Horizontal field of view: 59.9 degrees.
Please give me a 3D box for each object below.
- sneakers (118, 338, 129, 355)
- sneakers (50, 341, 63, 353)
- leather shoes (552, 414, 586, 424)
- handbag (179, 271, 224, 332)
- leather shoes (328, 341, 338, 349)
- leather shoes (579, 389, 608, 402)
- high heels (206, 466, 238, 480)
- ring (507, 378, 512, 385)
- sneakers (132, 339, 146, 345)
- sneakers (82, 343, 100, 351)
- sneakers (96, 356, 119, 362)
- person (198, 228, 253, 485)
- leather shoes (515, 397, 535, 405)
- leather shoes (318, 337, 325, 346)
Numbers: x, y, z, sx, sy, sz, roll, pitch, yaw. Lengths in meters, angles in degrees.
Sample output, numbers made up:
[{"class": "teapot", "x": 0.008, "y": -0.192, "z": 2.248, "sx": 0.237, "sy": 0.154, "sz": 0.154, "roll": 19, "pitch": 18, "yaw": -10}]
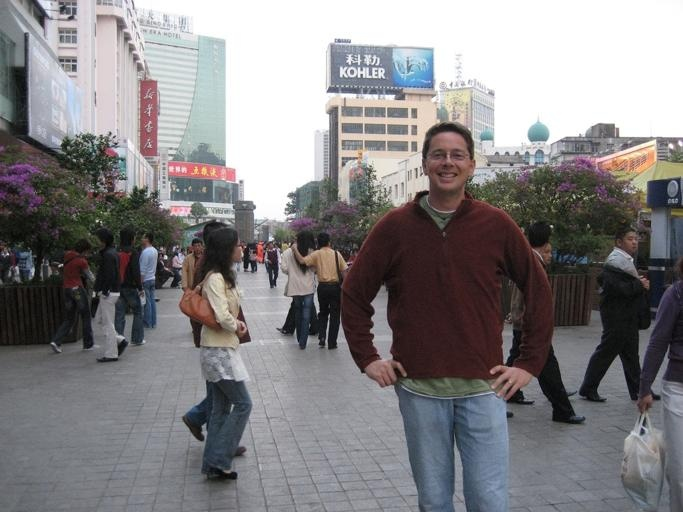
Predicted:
[{"class": "sneakers", "x": -3.803, "y": 1.581, "z": 10.295, "sx": 0.127, "sy": 0.317, "sz": 0.104, "roll": 22, "pitch": -1, "yaw": 32}, {"class": "sneakers", "x": -5.220, "y": 1.672, "z": 10.829, "sx": 0.068, "sy": 0.202, "sz": 0.079, "roll": -4, "pitch": 31, "yaw": 19}, {"class": "leather shoes", "x": 2.521, "y": 1.801, "z": 6.584, "sx": 0.327, "sy": 0.151, "sz": 0.127, "roll": -2, "pitch": -1, "yaw": 11}, {"class": "handbag", "x": -1.263, "y": 0.447, "z": 5.144, "sx": 0.260, "sy": 0.391, "sz": 0.448, "roll": -5, "pitch": 6, "yaw": -43}, {"class": "leather shoes", "x": -0.163, "y": 1.671, "z": 11.062, "sx": 0.082, "sy": 0.173, "sz": 0.174, "roll": 4, "pitch": 9, "yaw": 22}, {"class": "leather shoes", "x": 3.115, "y": 1.732, "z": 7.371, "sx": 0.348, "sy": 0.158, "sz": 0.123, "roll": -4, "pitch": -1, "yaw": 21}, {"class": "high heels", "x": -1.050, "y": 1.880, "z": 5.128, "sx": 0.219, "sy": 0.095, "sz": 0.118, "roll": 2, "pitch": 0, "yaw": -8}, {"class": "ring", "x": 0.891, "y": 0.666, "z": 3.143, "sx": 0.009, "sy": 0.034, "sz": 0.024, "roll": 2, "pitch": 12, "yaw": -14}, {"class": "sneakers", "x": -4.017, "y": 1.706, "z": 11.722, "sx": 0.250, "sy": 0.113, "sz": 0.094, "roll": -2, "pitch": 3, "yaw": -14}, {"class": "sneakers", "x": -4.637, "y": 1.693, "z": 10.995, "sx": 0.245, "sy": 0.103, "sz": 0.084, "roll": -4, "pitch": 8, "yaw": -23}, {"class": "sneakers", "x": -3.910, "y": 1.735, "z": 9.891, "sx": 0.316, "sy": 0.144, "sz": 0.119, "roll": 8, "pitch": -2, "yaw": -13}, {"class": "person", "x": -1.042, "y": 0.849, "z": 5.228, "sx": 0.454, "sy": 2.157, "sz": 0.476, "roll": -2, "pitch": 5, "yaw": -12}, {"class": "leather shoes", "x": 2.283, "y": 1.805, "z": 7.333, "sx": 0.175, "sy": 0.074, "sz": 0.094, "roll": 0, "pitch": 2, "yaw": -11}, {"class": "leather shoes", "x": -0.379, "y": 1.649, "z": 11.371, "sx": 0.109, "sy": 0.210, "sz": 0.169, "roll": 3, "pitch": -1, "yaw": 18}]
